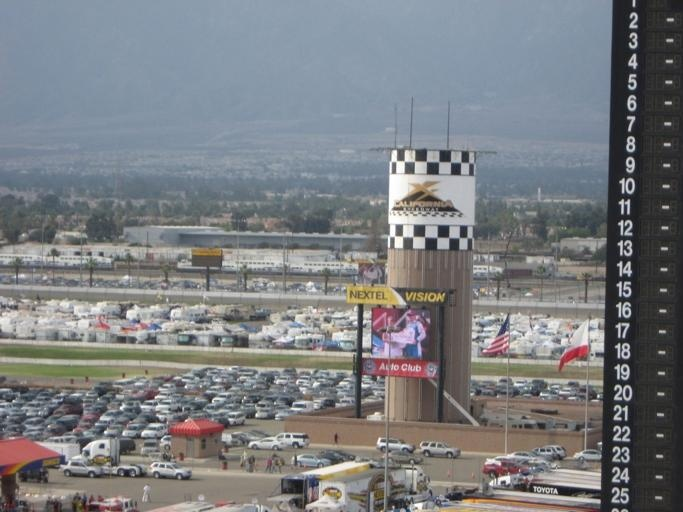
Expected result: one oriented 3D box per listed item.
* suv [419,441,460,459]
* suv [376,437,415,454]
[{"bbox_3d":[7.546,15.288,152.559,2.650,1.019,1.289,-1,1,10],"label":"suv"},{"bbox_3d":[4.121,15.077,152.516,3.292,1.276,1.651,-1,3,11],"label":"suv"}]
